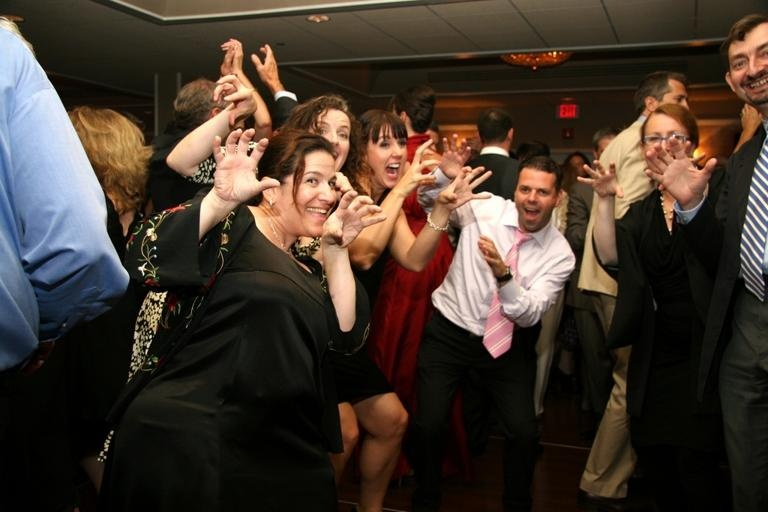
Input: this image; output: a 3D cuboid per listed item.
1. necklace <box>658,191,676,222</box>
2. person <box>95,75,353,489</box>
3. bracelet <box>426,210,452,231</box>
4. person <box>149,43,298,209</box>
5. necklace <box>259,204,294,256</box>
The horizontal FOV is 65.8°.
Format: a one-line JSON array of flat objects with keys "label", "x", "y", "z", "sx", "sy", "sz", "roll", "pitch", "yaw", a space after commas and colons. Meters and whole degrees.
[{"label": "necklace", "x": 1.499, "y": -0.274, "z": 3.161, "sx": 0.116, "sy": 0.171, "sz": 0.056, "roll": -3, "pitch": -15, "yaw": 11}, {"label": "person", "x": -0.625, "y": 0.109, "z": 3.228, "sx": 1.088, "sy": 1.103, "sz": 2.199, "roll": 2, "pitch": -33, "yaw": 8}, {"label": "bracelet", "x": 0.282, "y": -0.175, "z": 3.102, "sx": 0.109, "sy": 0.107, "sz": 0.248, "roll": 2, "pitch": 6, "yaw": 3}, {"label": "person", "x": -0.930, "y": -0.543, "z": 3.082, "sx": 0.486, "sy": 0.918, "sz": 0.677, "roll": 18, "pitch": 34, "yaw": 0}, {"label": "necklace", "x": -0.440, "y": -0.112, "z": 2.441, "sx": 0.065, "sy": 0.176, "sz": 0.129, "roll": -25, "pitch": -3, "yaw": 28}]
